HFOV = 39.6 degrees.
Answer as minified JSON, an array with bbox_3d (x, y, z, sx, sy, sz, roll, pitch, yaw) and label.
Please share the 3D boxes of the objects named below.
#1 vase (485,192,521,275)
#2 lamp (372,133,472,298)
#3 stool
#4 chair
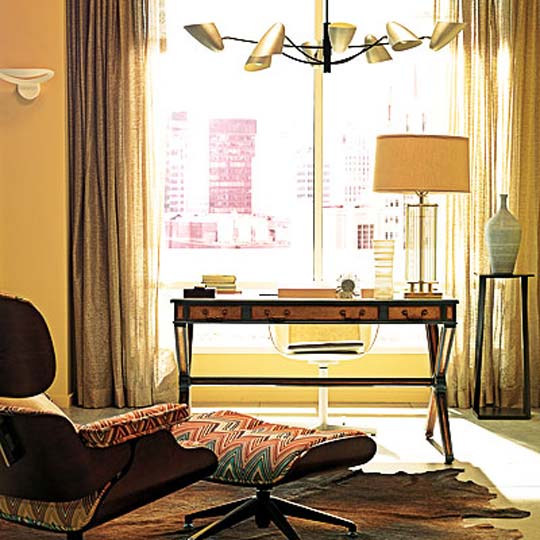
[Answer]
[{"bbox_3d":[1.335,-0.196,4.269,0.189,0.460,0.136,1,5,11],"label":"vase"},{"bbox_3d":[0.743,-0.248,3.667,0.480,0.780,0.490,4,6,44],"label":"lamp"},{"bbox_3d":[0.006,0.681,2.636,0.566,0.331,0.489,-3,-7,41],"label":"stool"},{"bbox_3d":[0.282,0.512,4.006,0.691,1.092,0.729,0,-13,2],"label":"chair"}]
